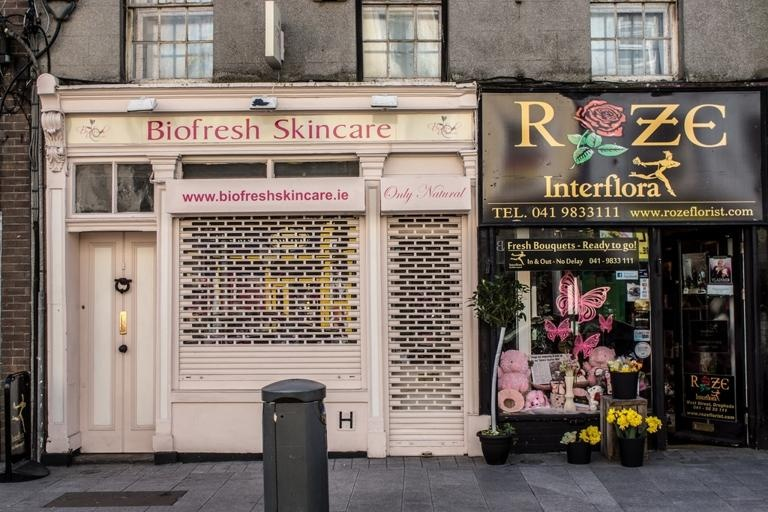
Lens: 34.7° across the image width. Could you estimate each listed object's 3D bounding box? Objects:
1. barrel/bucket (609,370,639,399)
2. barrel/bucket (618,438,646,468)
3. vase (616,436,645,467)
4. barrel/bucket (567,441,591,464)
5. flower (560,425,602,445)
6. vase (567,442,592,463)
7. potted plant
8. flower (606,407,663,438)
[{"bbox_3d":[3.748,2.061,19.347,0.492,0.317,0.425,6,-9,-35],"label":"barrel/bucket"},{"bbox_3d":[3.801,3.061,19.012,0.506,0.361,0.415,0,-7,13],"label":"barrel/bucket"},{"bbox_3d":[3.797,3.059,19.014,0.509,0.365,0.418,0,-6,12],"label":"vase"},{"bbox_3d":[2.992,3.086,19.104,0.381,0.230,0.361,0,-6,0],"label":"barrel/bucket"},{"bbox_3d":[3.011,2.758,19.233,0.466,0.237,0.410,-3,-2,-19],"label":"flower"},{"bbox_3d":[3.000,3.078,19.103,0.370,0.225,0.349,0,-6,0],"label":"vase"},{"bbox_3d":[1.832,1.787,19.446,0.898,2.989,0.791,-3,-2,6],"label":"potted plant"},{"bbox_3d":[3.865,2.607,19.172,0.607,0.278,0.552,2,4,-16],"label":"flower"}]
